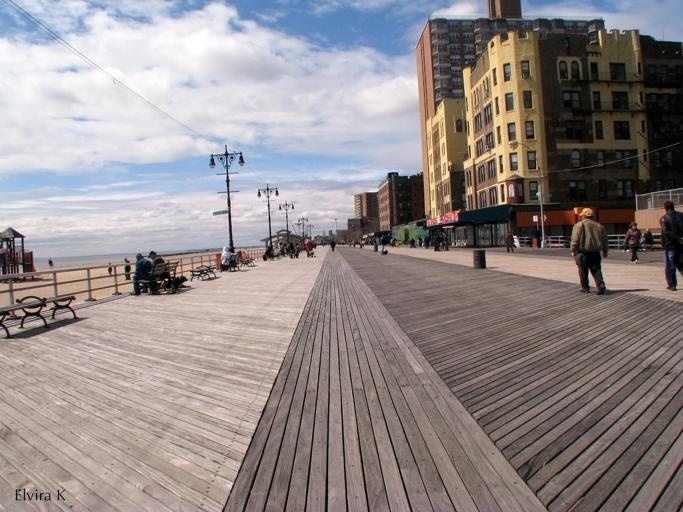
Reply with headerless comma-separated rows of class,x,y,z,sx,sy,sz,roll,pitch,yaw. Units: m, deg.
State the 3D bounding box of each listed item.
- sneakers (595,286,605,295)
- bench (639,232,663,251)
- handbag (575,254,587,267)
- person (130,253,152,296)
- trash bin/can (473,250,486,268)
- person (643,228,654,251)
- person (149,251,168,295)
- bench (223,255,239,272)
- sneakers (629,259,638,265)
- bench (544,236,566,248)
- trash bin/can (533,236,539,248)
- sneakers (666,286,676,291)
sneakers,5.829,0.726,10.726,0.131,0.147,0.366,5,14,16
bench,18.335,-0.838,28.355,1.214,0.457,1.237,-2,6,27
handbag,5.499,0.052,10.988,0.211,0.381,0.391,0,-1,1
person,-6.838,0.601,16.382,0.659,1.275,1.228,-7,9,-24
trash bin/can,5.888,0.106,20.317,0.431,0.758,0.646,-2,8,8
person,18.644,-0.951,29.076,0.432,1.377,2.367,2,9,32
person,-6.141,0.632,16.016,0.460,0.721,1.274,4,12,-10
bench,-6.505,0.390,28.077,0.759,1.102,2.644,-4,8,-6
sneakers,12.295,0.216,20.040,0.182,0.250,0.548,5,10,30
bench,20.322,-1.346,45.436,1.117,0.812,0.625,5,15,27
trash bin/can,18.441,-1.332,45.189,0.405,0.929,2.481,0,9,25
sneakers,7.471,0.719,10.821,0.090,0.092,0.197,0,11,-3
